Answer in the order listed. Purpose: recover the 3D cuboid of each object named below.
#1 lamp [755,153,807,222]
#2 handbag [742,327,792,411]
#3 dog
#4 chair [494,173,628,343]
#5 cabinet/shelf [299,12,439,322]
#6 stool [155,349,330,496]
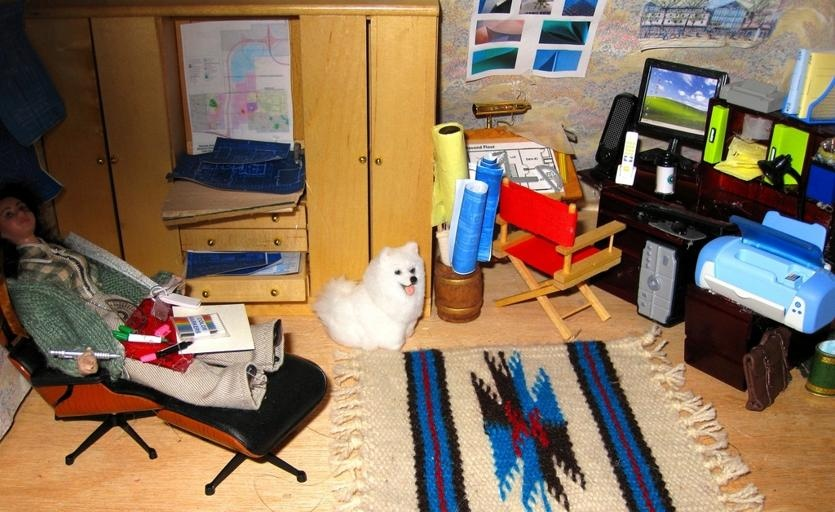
[{"bbox_3d":[2.277,-0.516,3.703,0.318,0.350,0.094,12,53,41],"label":"lamp"},{"bbox_3d":[2.157,0.699,3.680,0.454,0.391,0.165,-30,22,-25],"label":"handbag"},{"bbox_3d":[-0.325,0.267,4.069,0.824,0.676,0.553,10,18,34],"label":"dog"},{"bbox_3d":[1.001,0.040,4.139,0.842,0.941,0.741,-25,44,-32],"label":"chair"},{"bbox_3d":[-0.320,-0.587,3.906,0.828,1.852,0.452,0,33,-2],"label":"cabinet/shelf"},{"bbox_3d":[-0.929,0.953,3.389,0.940,0.373,0.864,9,16,13],"label":"stool"}]
